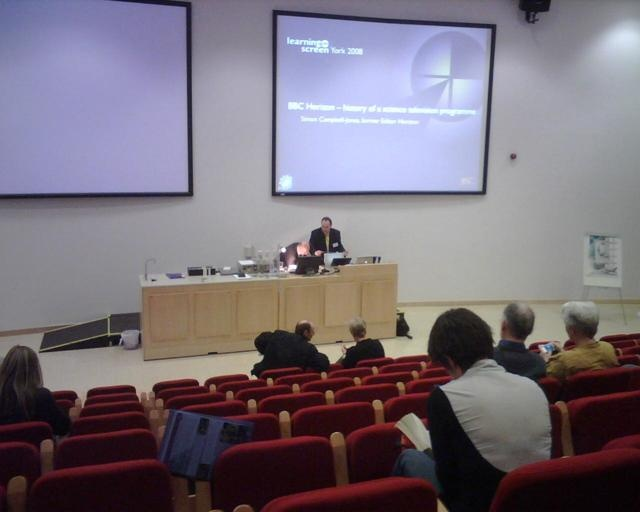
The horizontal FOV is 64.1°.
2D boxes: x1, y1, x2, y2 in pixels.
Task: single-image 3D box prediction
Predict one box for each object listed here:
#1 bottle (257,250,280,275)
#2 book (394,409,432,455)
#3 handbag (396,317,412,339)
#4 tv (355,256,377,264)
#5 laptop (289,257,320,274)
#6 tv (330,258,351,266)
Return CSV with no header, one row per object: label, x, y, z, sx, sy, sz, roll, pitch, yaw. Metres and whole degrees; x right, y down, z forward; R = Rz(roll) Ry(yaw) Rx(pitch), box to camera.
bottle,-0.714,0.081,6.947,0.269,0.313,0.290,-1,3,-17
book,0.435,0.816,2.377,0.149,0.164,0.138,-5,8,-9
handbag,1.220,1.115,7.418,0.122,0.420,0.190,-8,18,7
tv,0.680,0.069,7.141,0.401,0.089,0.138,-4,5,-31
laptop,-0.165,0.130,6.839,0.290,0.231,0.212,-3,11,-25
tv,0.288,0.093,7.017,0.270,0.127,0.127,-1,4,0
